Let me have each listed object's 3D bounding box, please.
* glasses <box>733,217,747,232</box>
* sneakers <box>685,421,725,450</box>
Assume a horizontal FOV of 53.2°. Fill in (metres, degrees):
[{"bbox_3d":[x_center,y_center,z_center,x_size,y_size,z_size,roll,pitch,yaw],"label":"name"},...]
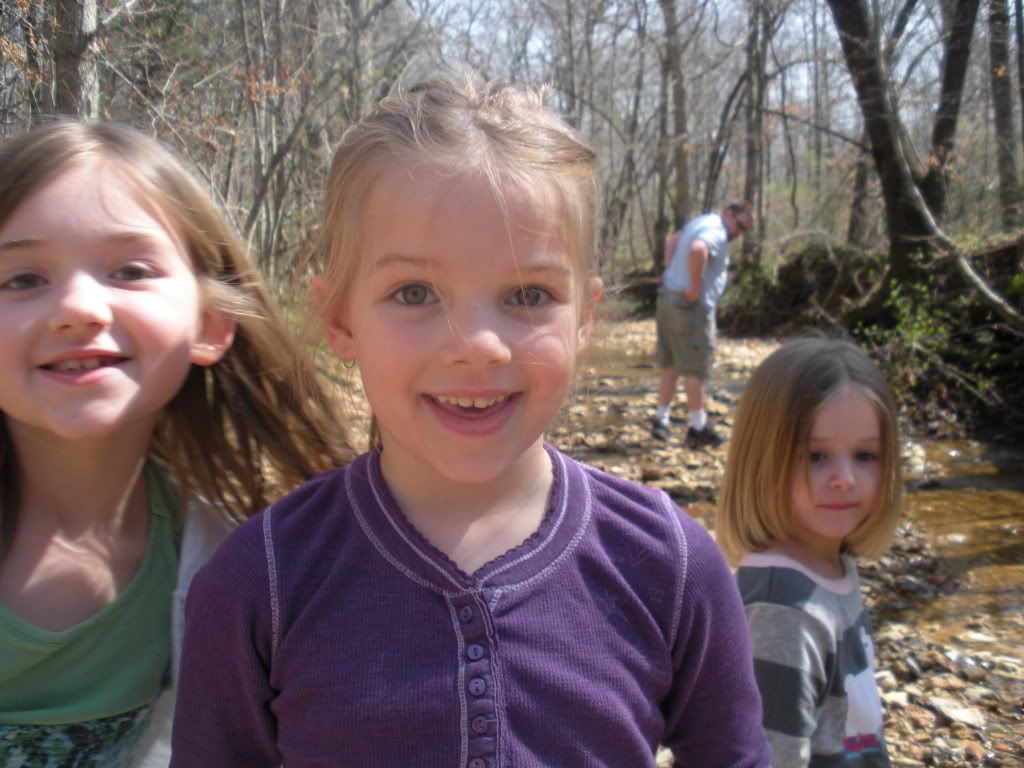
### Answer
[{"bbox_3d":[1.651,-1.151,7.401,0.026,0.103,0.093,-7,-8,29],"label":"glasses"},{"bbox_3d":[1.312,0.370,6.987,0.242,0.170,0.125,0,4,-16],"label":"sneakers"}]
